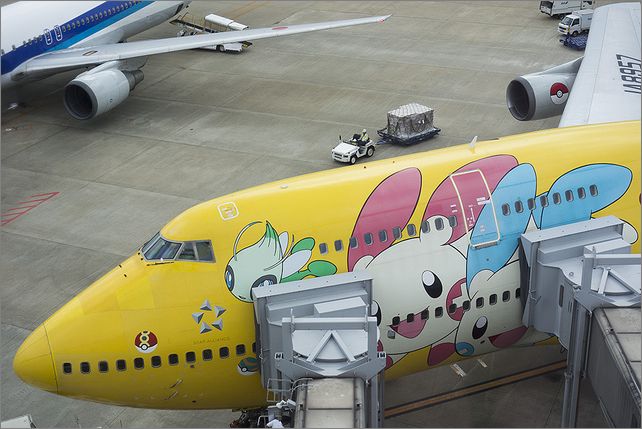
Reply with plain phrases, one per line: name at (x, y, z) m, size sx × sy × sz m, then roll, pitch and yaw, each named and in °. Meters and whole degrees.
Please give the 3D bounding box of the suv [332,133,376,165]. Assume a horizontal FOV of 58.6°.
suv at (1.890, -4.318, 37.733) m, size 2.923 × 1.482 × 1.882 m, roll -24°, pitch 30°, yaw -32°
